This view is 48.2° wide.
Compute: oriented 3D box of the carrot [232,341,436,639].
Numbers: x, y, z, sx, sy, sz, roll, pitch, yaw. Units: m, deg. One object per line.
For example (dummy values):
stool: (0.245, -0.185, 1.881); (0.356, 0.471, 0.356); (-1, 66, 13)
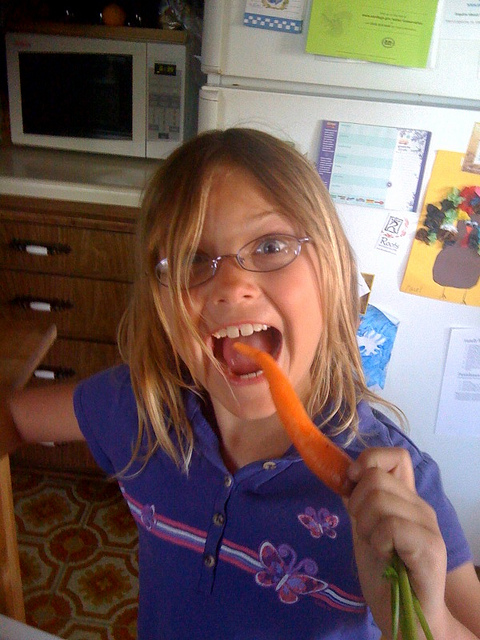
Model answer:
carrot: (0.064, 0.143, 0.638); (0.090, 0.057, 0.498); (18, 24, -29)

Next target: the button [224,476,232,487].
button: (-0.017, 0.228, 0.756); (0.008, 0.012, 0.014); (-6, 26, -27)

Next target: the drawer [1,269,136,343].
drawer: (-0.560, -0.054, 1.717); (0.441, 0.231, 0.270); (7, 18, 5)

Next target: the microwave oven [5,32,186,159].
microwave oven: (-0.471, -0.771, 1.802); (0.576, 0.402, 0.351); (6, 28, 4)

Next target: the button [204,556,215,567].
button: (-0.043, 0.341, 0.757); (0.013, 0.014, 0.004); (1, -2, 35)

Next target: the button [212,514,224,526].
button: (-0.031, 0.280, 0.749); (0.013, 0.014, 0.003); (12, -4, 43)
